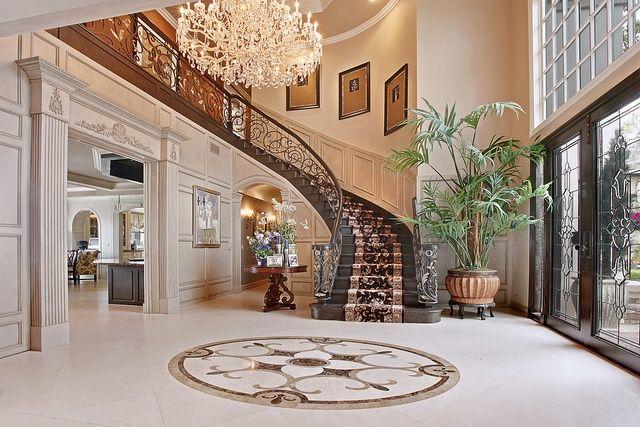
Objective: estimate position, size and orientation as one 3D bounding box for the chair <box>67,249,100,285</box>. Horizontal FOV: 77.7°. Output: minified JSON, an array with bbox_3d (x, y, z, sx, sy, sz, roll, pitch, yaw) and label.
[{"bbox_3d":[-8.562,1.901,14.293,0.782,1.136,1.356,0,-6,-1],"label":"chair"}]

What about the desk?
[{"bbox_3d":[-0.966,1.617,8.739,1.328,0.969,1.318,-4,-7,21],"label":"desk"}]
